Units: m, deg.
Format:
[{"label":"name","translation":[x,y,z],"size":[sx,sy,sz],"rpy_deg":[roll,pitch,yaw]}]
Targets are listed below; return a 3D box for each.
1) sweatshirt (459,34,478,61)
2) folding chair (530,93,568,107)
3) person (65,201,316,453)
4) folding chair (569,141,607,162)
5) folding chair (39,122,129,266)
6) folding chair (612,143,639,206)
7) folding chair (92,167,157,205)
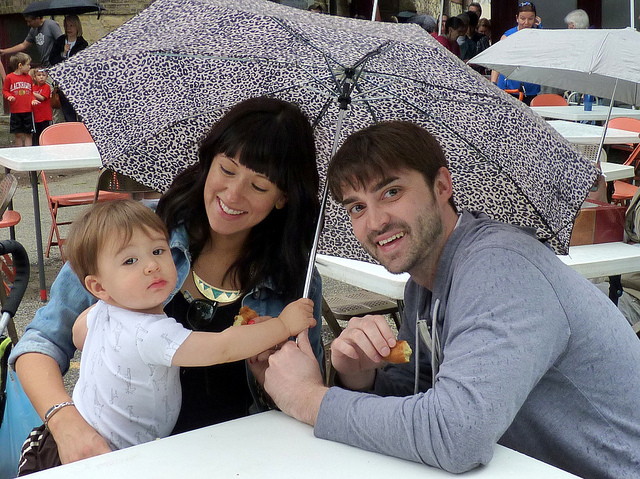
[{"label":"sweatshirt","translation":[3.264,-4.282,11.509],"size":[0.384,0.555,1.100],"rpy_deg":[5,18,15]},{"label":"folding chair","translation":[4.156,-2.544,9.497],"size":[0.612,0.151,0.605],"rpy_deg":[-4,11,-26]},{"label":"person","translation":[-0.494,0.460,2.102],"size":[0.839,1.107,0.812],"rpy_deg":[8,8,10]},{"label":"folding chair","translation":[3.223,-1.061,6.217],"size":[0.338,0.263,0.641],"rpy_deg":[10,20,26]},{"label":"folding chair","translation":[-2.798,-0.531,5.991],"size":[0.826,1.538,1.668],"rpy_deg":[-9,20,-28]},{"label":"folding chair","translation":[3.858,-0.735,6.590],"size":[0.251,0.737,1.475],"rpy_deg":[11,20,29]},{"label":"folding chair","translation":[-1.973,-0.454,5.216],"size":[0.424,0.550,0.394],"rpy_deg":[4,8,-3]}]
